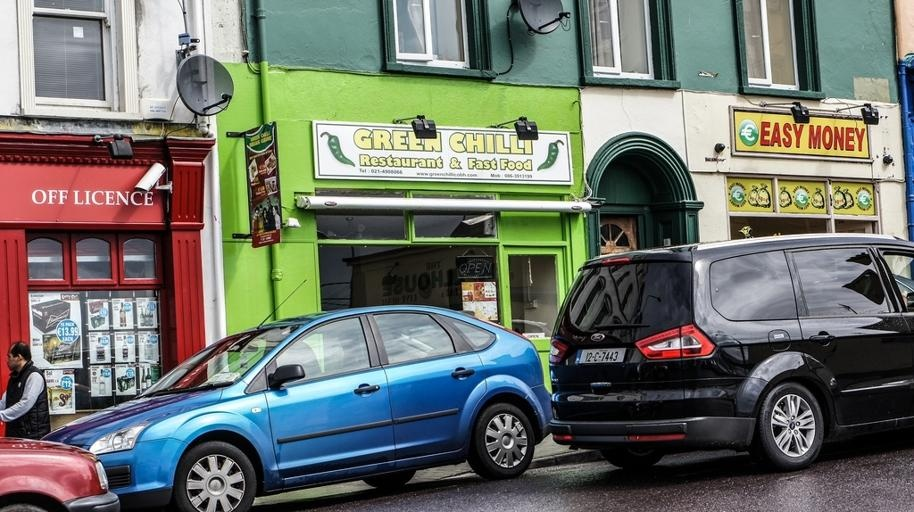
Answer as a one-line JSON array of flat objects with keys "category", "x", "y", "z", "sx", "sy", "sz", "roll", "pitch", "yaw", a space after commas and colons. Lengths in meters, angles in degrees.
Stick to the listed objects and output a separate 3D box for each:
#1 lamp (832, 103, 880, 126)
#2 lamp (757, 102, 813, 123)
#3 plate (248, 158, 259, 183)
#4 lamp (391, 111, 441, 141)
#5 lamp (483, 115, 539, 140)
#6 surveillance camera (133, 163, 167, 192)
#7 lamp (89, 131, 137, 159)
[{"category": "lamp", "x": 9.143, "y": -3.288, "z": 23.881, "sx": 0.530, "sy": 0.402, "sz": 0.934, "roll": 1, "pitch": 1, "yaw": -36}, {"category": "lamp", "x": 7.356, "y": -3.203, "z": 23.019, "sx": 1.170, "sy": 0.433, "sz": 0.369, "roll": -3, "pitch": 0, "yaw": -14}, {"category": "plate", "x": -3.690, "y": -1.591, "z": 19.126, "sx": 0.060, "sy": 0.507, "sz": 0.479, "roll": -2, "pitch": -2, "yaw": -34}, {"category": "lamp", "x": -0.704, "y": -2.563, "z": 20.463, "sx": 0.448, "sy": 0.428, "sz": 0.835, "roll": 0, "pitch": 0, "yaw": -31}, {"category": "lamp", "x": 1.223, "y": -2.611, "z": 21.275, "sx": 0.502, "sy": 0.435, "sz": 0.849, "roll": 0, "pitch": -1, "yaw": -35}, {"category": "surveillance camera", "x": -5.456, "y": -1.429, "z": 18.699, "sx": 0.303, "sy": 0.518, "sz": 0.607, "roll": -3, "pitch": 0, "yaw": 34}, {"category": "lamp", "x": -6.052, "y": -1.966, "z": 18.511, "sx": 0.696, "sy": 0.484, "sz": 0.254, "roll": -4, "pitch": 0, "yaw": -16}]
